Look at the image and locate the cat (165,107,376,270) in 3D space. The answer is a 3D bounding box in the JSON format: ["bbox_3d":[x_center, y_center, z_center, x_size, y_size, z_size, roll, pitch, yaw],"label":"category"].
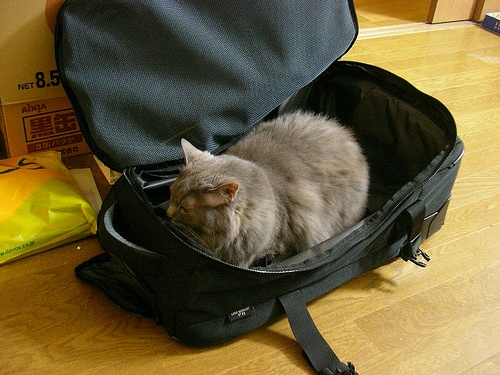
[{"bbox_3d":[0.094,-0.006,1.609,0.744,0.324,0.477,-29,50,-32],"label":"cat"}]
